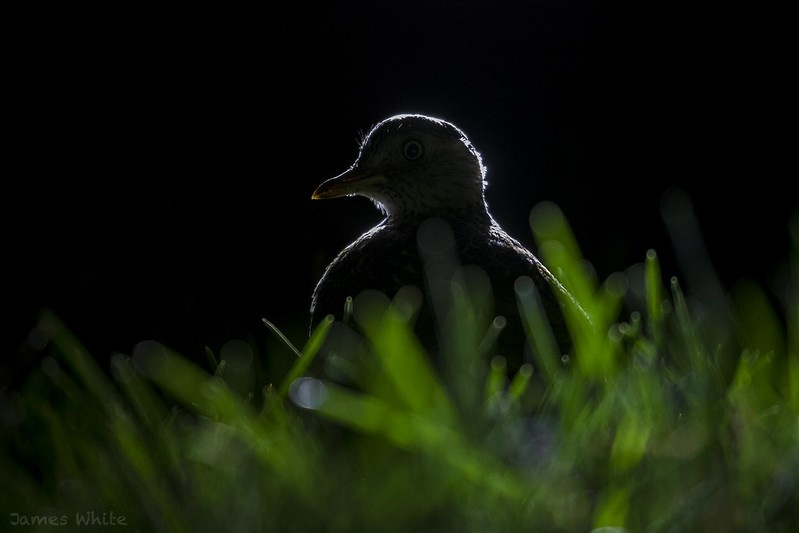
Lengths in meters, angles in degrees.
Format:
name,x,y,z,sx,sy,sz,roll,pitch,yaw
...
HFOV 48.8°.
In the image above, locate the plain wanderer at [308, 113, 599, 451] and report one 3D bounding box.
name,x,y,z,sx,sy,sz,roll,pitch,yaw
plain wanderer,0.107,-0.027,1.181,0.368,0.344,0.260,17,-23,-25
